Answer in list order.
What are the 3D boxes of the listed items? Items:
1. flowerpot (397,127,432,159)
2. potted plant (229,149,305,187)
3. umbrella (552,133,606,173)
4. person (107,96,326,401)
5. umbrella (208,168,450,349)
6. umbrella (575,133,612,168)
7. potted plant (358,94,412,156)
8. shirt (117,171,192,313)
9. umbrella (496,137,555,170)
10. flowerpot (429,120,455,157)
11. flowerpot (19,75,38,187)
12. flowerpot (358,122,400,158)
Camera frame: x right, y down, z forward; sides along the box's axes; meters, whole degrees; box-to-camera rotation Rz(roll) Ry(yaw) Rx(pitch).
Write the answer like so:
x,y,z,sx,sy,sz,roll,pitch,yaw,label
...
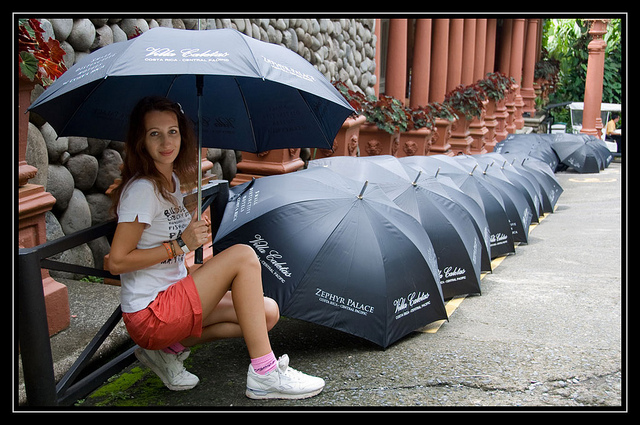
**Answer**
x,y,z,sx,sy,sz,roll,pitch,yaw,label
1.645,-1.350,9.060,0.819,0.564,0.918,0,16,-9,flowerpot
-0.677,-0.627,6.353,0.716,0.847,0.691,2,1,11,potted plant
7.700,-1.721,14.028,1.638,1.049,0.720,-1,13,-19,umbrella
-0.695,0.289,2.840,0.975,1.877,0.489,1,13,-12,person
-0.075,0.437,4.049,1.549,0.631,1.521,18,39,-18,umbrella
8.453,-2.071,14.438,1.081,0.461,1.109,48,24,27,umbrella
1.033,-1.332,8.185,0.847,0.856,0.699,8,9,14,potted plant
-0.941,0.179,2.702,0.409,0.771,0.275,-4,15,-32,shirt
5.565,-1.722,12.859,1.505,0.542,1.454,-2,33,-14,umbrella
2.686,-1.601,10.180,0.355,0.746,0.896,13,16,37,flowerpot
-1.943,-0.524,3.119,0.120,0.713,0.280,-3,14,-27,flowerpot
1.012,-1.329,8.244,0.718,0.603,0.590,5,-2,-1,flowerpot
